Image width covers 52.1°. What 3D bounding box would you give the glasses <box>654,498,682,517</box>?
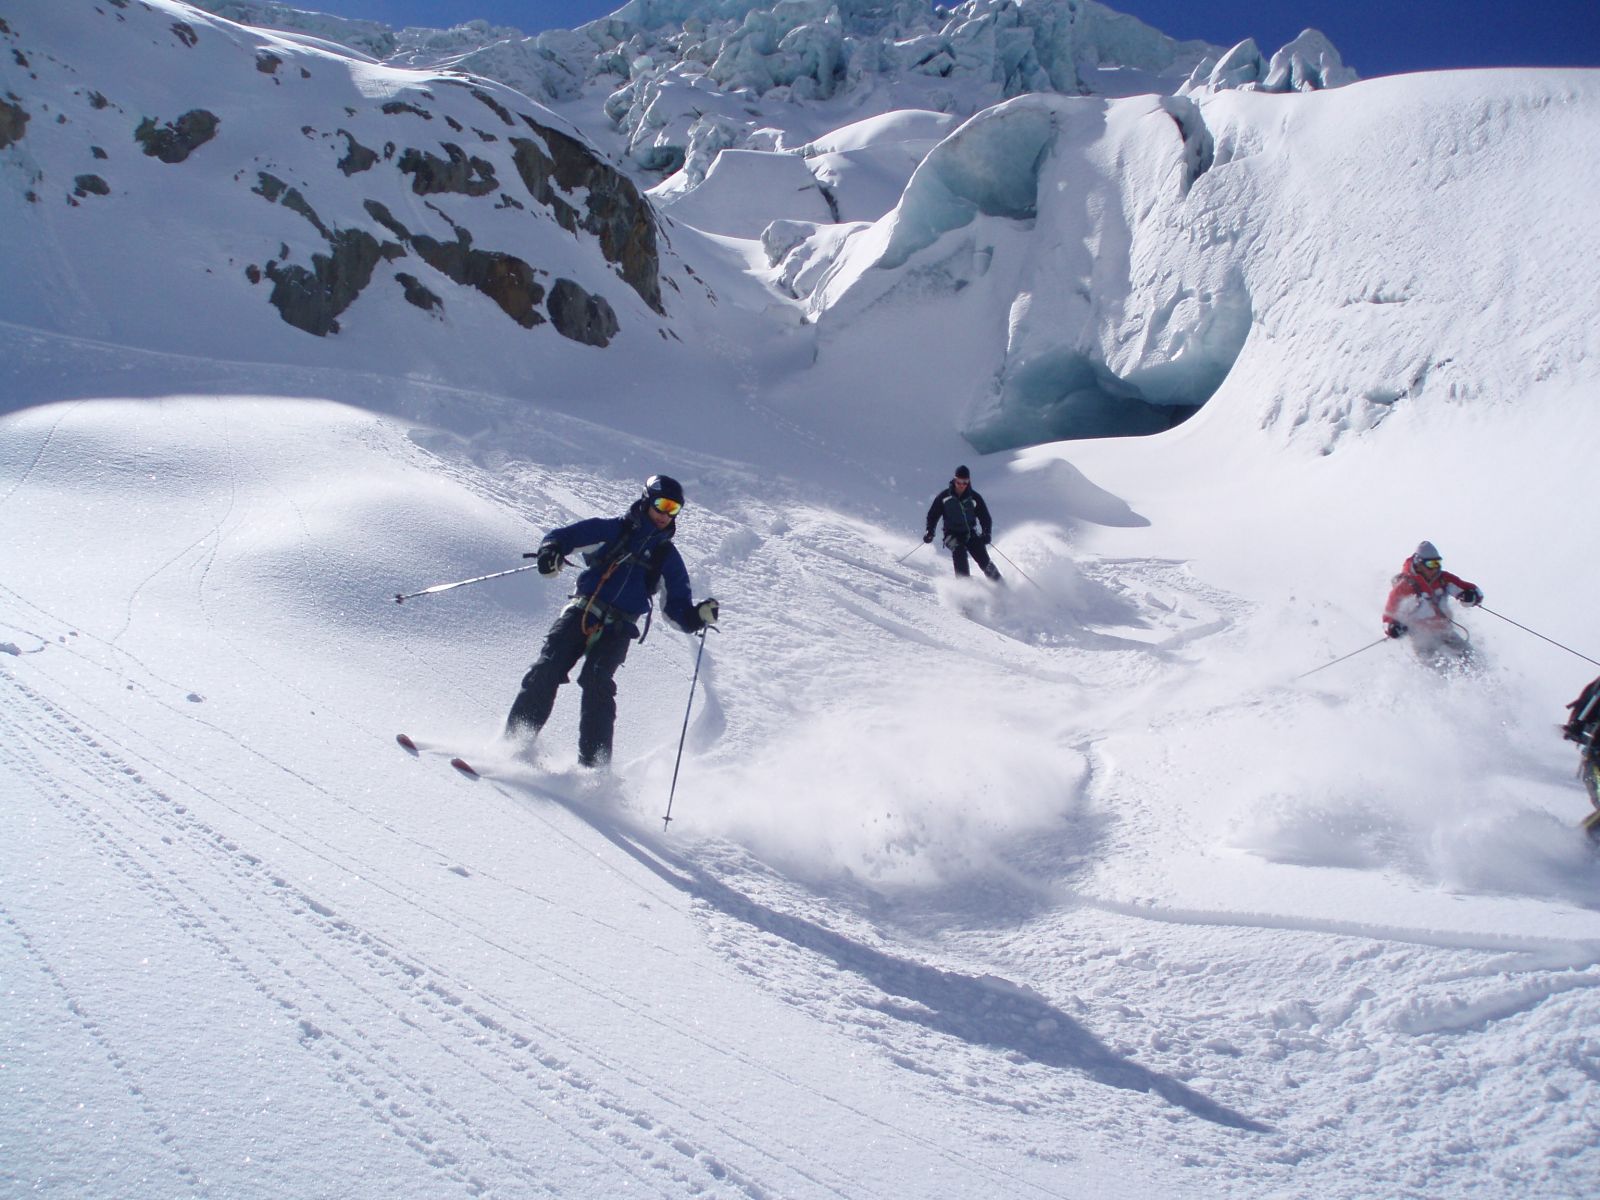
[{"bbox_3d":[-1.402,-1.028,17.255,0.210,0.191,0.094,-25,37,51],"label":"glasses"}]

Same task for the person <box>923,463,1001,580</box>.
[{"bbox_3d":[2.381,-1.005,24.207,1.088,1.914,0.637,-13,24,-6],"label":"person"}]

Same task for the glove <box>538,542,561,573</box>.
[{"bbox_3d":[-2.554,-0.449,16.751,0.295,0.143,0.275,10,54,-23],"label":"glove"}]
